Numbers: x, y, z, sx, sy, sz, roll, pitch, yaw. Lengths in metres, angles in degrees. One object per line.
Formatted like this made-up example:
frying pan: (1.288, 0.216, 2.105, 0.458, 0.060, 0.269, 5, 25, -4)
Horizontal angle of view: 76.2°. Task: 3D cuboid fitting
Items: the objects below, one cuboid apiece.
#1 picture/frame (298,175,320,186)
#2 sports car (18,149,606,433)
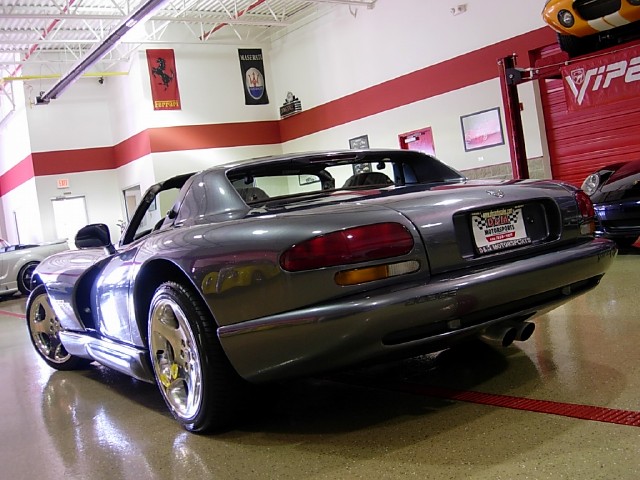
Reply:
picture/frame: (-0.074, -0.386, 2.687, 0.141, 0.058, 0.058, -3, 13, -8)
sports car: (-0.525, 0.152, 2.546, 1.887, 0.739, 2.944, -3, 2, -38)
